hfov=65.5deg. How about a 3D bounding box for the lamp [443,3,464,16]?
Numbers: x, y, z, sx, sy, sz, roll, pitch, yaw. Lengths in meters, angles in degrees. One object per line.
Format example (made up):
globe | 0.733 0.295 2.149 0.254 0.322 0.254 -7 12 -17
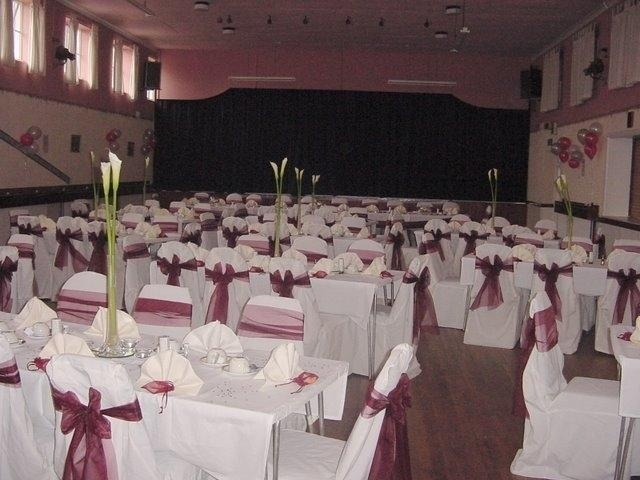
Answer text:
lamp | 2.971 -5.112 11.093 0.398 0.198 0.595 6 12 11

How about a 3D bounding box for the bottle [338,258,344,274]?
bottle | 0.223 0.267 5.216 0.069 0.144 0.066 3 11 0

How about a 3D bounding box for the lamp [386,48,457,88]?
lamp | 3.259 -5.221 15.058 1.892 1.136 1.952 5 11 6

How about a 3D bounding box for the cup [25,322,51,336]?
cup | -1.812 0.558 3.224 0.082 0.072 0.116 -2 -1 7

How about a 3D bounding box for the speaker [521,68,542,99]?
speaker | 6.071 -4.494 14.309 0.612 0.803 0.475 8 12 22

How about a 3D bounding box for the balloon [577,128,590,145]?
balloon | 5.715 -2.274 10.827 0.109 0.375 0.230 1 -1 -36

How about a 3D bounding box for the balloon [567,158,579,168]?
balloon | 6.004 -1.827 11.774 0.278 0.302 0.600 9 12 26

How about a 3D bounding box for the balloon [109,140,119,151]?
balloon | -5.253 -2.405 12.807 0.272 0.344 0.112 2 6 6

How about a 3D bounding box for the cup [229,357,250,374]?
cup | -0.448 0.684 2.729 0.077 0.082 0.083 3 -1 0

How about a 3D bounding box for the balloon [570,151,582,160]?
balloon | 5.946 -1.980 11.557 0.274 0.210 0.226 13 14 39

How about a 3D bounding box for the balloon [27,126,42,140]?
balloon | -5.954 -2.250 10.405 0.259 0.305 0.136 -18 2 -39

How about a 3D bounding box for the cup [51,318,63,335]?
cup | -1.663 0.548 3.148 0.076 0.124 0.080 2 -2 0

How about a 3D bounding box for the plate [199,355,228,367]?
plate | -0.613 0.690 2.858 0.172 0.048 0.099 5 11 6

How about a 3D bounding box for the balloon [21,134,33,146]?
balloon | -5.968 -2.054 10.190 0.209 0.255 0.285 11 14 37

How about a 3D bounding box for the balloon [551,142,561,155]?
balloon | 5.760 -2.247 12.216 0.163 0.281 0.323 3 11 1

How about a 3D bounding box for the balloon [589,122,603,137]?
balloon | 5.877 -2.347 10.681 0.223 0.311 0.224 -25 15 -33

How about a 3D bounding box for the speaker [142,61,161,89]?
speaker | -5.130 -5.005 15.155 0.499 0.776 0.248 1 11 -9

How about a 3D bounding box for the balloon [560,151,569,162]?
balloon | 5.895 -2.021 12.034 0.207 0.242 0.256 8 12 26
